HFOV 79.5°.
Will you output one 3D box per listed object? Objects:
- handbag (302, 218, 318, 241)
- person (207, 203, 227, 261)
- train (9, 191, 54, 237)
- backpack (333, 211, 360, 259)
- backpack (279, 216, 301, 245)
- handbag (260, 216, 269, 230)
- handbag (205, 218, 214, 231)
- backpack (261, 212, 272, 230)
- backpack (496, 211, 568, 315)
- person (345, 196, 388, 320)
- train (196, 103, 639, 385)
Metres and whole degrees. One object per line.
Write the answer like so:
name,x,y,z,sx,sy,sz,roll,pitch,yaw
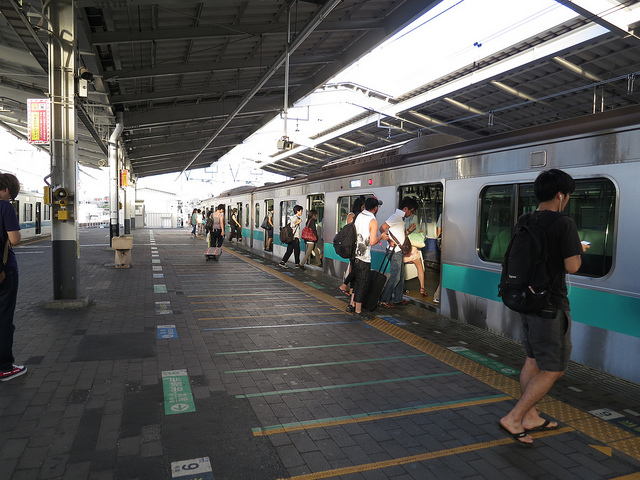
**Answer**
handbag,-0.297,-0.313,11.664,0.596,0.699,0.258,12,14,35
person,-3.968,-0.377,14.788,0.575,2.125,0.587,5,-1,7
train,-17.514,-1.667,24.565,1.419,1.957,6.216,-19,13,-18
backpack,0.582,-0.059,6.723,0.649,0.646,0.386,2,16,36
backpack,-0.964,-0.296,12.417,0.590,0.861,0.341,1,5,-6
handbag,-2.265,-0.719,15.778,0.296,0.602,0.531,-7,16,-36
handbag,-4.480,-0.653,15.650,0.353,0.658,0.611,1,8,-27
backpack,-2.181,-0.786,15.694,0.656,0.776,0.357,12,15,35
backpack,1.851,0.196,3.384,0.440,0.877,0.269,6,7,40
person,0.852,0.205,7.003,0.790,2.199,0.729,-11,32,-22
train,2.401,-0.261,7.149,1.927,3.130,6.821,0,6,-18
